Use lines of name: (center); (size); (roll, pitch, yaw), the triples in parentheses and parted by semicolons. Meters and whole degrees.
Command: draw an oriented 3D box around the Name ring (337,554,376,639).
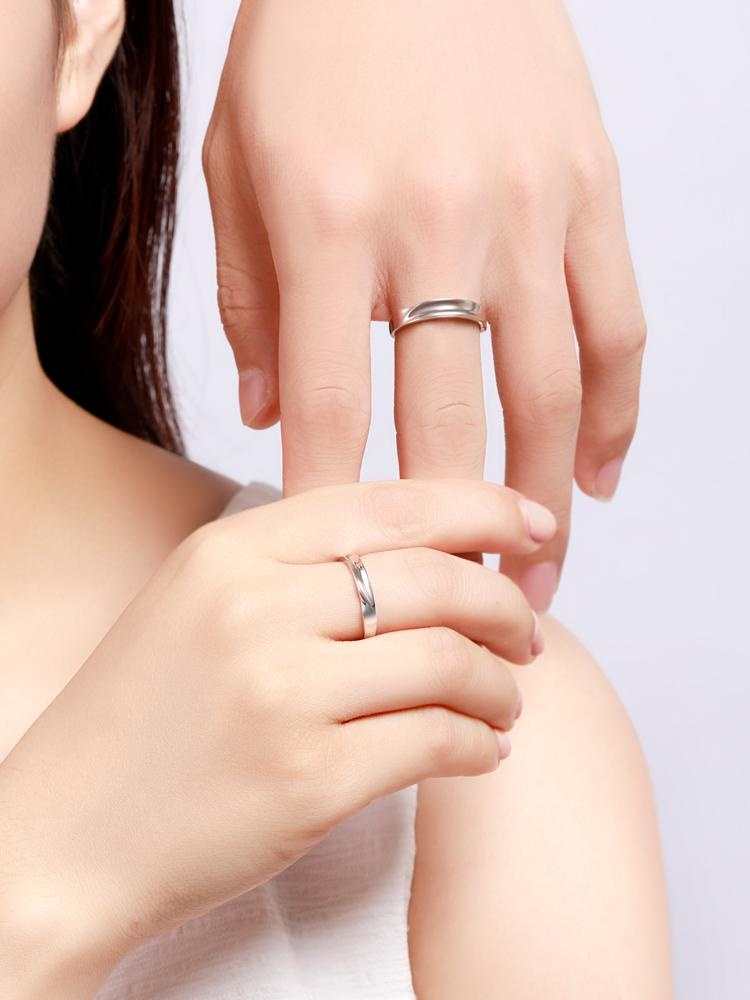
Name ring: (-0.011, 0.060, 0.576); (0.007, 0.032, 0.037); (-11, -27, -8)
